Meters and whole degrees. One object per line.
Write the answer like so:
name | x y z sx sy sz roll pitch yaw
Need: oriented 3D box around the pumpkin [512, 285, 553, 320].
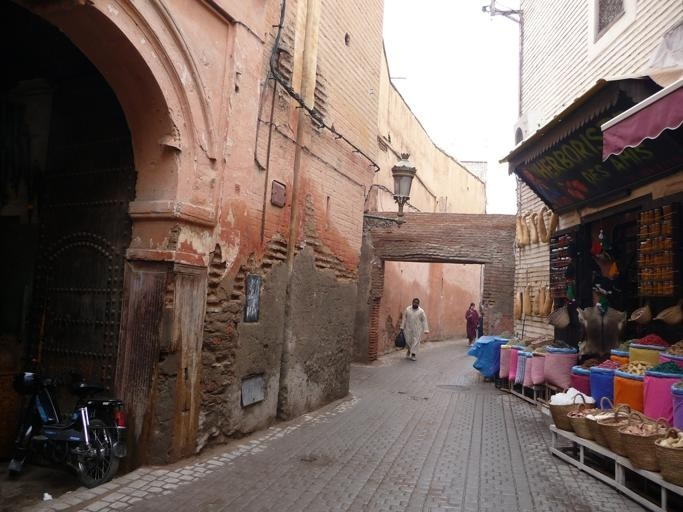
pumpkin | 4.923 1.175 11.991 0.657 0.353 1.012 -1 20 16

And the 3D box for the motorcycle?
motorcycle | -2.834 1.754 4.866 1.047 1.071 0.479 1 -3 2
